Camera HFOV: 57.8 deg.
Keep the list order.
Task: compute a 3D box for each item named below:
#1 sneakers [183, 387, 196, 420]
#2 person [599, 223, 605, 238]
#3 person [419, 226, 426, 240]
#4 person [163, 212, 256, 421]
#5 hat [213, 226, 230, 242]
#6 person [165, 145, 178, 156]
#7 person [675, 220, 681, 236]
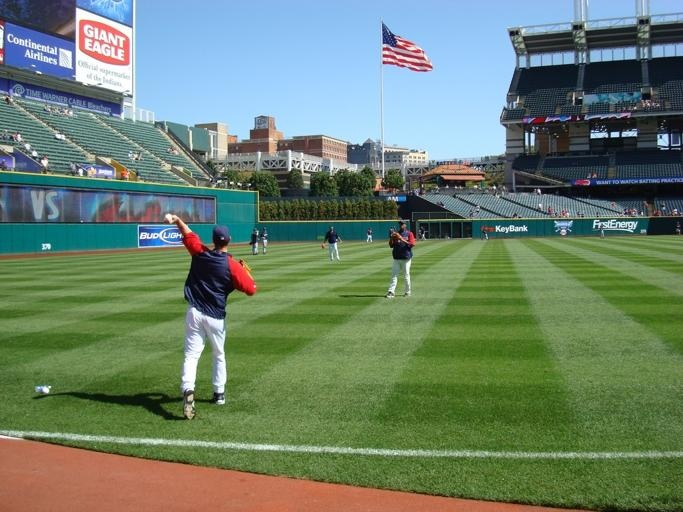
[{"bbox_3d":[-1.743,1.685,7.068,0.145,0.342,0.153,1,-2,-10],"label":"sneakers"},{"bbox_3d":[23.735,-2.437,56.057,0.584,0.982,1.165,2,8,20],"label":"person"},{"bbox_3d":[7.792,-2.223,58.752,0.542,1.010,0.258,-2,7,-9],"label":"person"},{"bbox_3d":[-1.525,0.671,7.328,0.876,2.291,0.812,-3,8,-17],"label":"person"},{"bbox_3d":[-1.409,-0.280,7.397,0.239,0.175,0.384,5,14,-9],"label":"hat"},{"bbox_3d":[-14.562,-8.974,52.639,0.643,0.723,2.059,17,17,-3],"label":"person"},{"bbox_3d":[30.025,-2.537,54.803,0.428,1.033,0.864,3,8,27],"label":"person"}]
